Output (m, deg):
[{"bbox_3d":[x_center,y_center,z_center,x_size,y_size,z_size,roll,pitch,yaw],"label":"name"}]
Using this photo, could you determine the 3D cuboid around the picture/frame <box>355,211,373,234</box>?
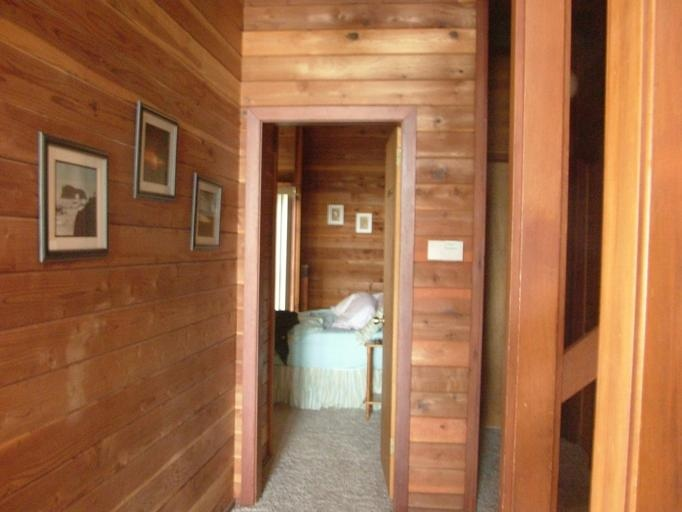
[{"bbox_3d":[0.268,-0.377,6.426,0.234,0.301,0.026,0,2,4],"label":"picture/frame"}]

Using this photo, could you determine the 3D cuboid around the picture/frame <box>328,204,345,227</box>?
[{"bbox_3d":[-0.046,-0.464,6.447,0.235,0.320,0.021,0,1,4],"label":"picture/frame"}]
